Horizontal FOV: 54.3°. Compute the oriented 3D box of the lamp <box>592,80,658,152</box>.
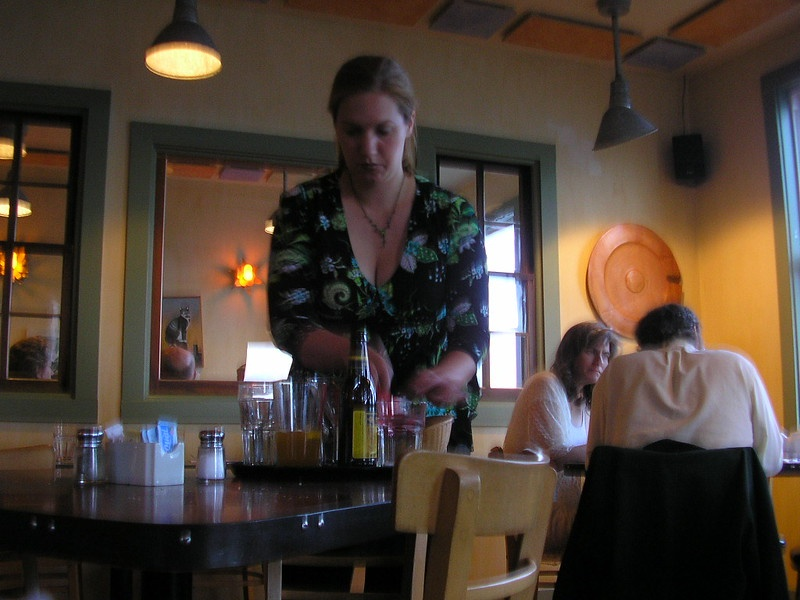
[{"bbox_3d":[1.235,-1.006,4.394,0.364,0.413,0.384,-15,0,25],"label":"lamp"}]

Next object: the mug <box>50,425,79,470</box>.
[{"bbox_3d":[-1.323,0.587,3.082,0.069,0.115,0.069,2,3,-30],"label":"mug"}]

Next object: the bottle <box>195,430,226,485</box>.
[{"bbox_3d":[-0.465,0.379,1.909,0.074,0.116,0.076,-2,-10,0],"label":"bottle"}]

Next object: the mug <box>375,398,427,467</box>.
[{"bbox_3d":[-0.002,0.314,1.848,0.144,0.172,0.147,1,-9,-2],"label":"mug"}]

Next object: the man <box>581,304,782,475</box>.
[{"bbox_3d":[1.118,0.359,3.125,0.682,0.684,0.382,-1,-19,26],"label":"man"}]

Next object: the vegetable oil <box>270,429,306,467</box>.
[{"bbox_3d":[-0.274,0.360,1.862,0.069,0.077,0.078,2,-9,-9],"label":"vegetable oil"}]

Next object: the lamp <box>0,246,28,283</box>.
[{"bbox_3d":[-2.045,-0.189,4.117,0.166,0.172,0.040,7,-3,-22],"label":"lamp"}]

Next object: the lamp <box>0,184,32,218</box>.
[{"bbox_3d":[-2.086,-0.528,4.266,0.151,0.157,0.145,-2,6,-15],"label":"lamp"}]

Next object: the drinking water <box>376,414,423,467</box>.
[{"bbox_3d":[-0.003,0.335,1.845,0.117,0.135,0.120,1,-12,-2],"label":"drinking water"}]

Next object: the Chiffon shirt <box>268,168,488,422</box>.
[{"bbox_3d":[-0.041,-0.024,2.252,0.581,0.731,0.393,4,0,5],"label":"Chiffon shirt"}]

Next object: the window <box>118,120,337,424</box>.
[{"bbox_3d":[-0.942,-0.160,3.960,1.554,1.870,0.090,3,-5,-15],"label":"window"}]

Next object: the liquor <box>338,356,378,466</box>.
[{"bbox_3d":[-0.105,0.244,1.909,0.091,0.320,0.092,2,-3,-30],"label":"liquor"}]

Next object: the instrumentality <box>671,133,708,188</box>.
[{"bbox_3d":[1.991,-0.996,5.326,0.181,0.297,0.174,0,28,26],"label":"instrumentality"}]

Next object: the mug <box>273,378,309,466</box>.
[{"bbox_3d":[-0.284,0.319,1.924,0.118,0.204,0.128,-4,-12,12],"label":"mug"}]
